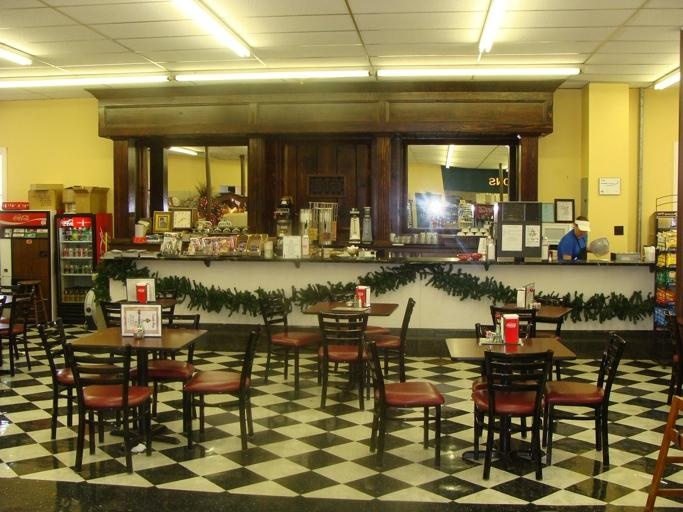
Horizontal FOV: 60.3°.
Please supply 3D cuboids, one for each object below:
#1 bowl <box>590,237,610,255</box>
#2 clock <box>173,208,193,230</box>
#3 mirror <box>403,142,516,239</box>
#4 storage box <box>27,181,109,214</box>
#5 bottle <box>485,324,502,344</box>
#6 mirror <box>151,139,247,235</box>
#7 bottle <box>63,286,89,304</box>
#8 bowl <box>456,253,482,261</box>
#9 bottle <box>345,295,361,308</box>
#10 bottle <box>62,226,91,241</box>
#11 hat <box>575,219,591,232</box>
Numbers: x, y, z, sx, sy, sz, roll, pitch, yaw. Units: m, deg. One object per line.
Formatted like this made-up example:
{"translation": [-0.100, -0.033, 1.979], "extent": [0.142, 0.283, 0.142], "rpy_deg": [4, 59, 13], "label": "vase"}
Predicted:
{"translation": [3.958, -0.152, 9.110], "extent": [0.413, 0.250, 0.300], "rpy_deg": [-5, -2, 15], "label": "bowl"}
{"translation": [-3.169, -0.734, 11.739], "extent": [0.477, 0.343, 0.048], "rpy_deg": [13, -10, 6], "label": "clock"}
{"translation": [2.230, -1.249, 11.091], "extent": [2.592, 1.878, 0.177], "rpy_deg": [-1, 0, 0], "label": "mirror"}
{"translation": [-5.416, -1.143, 11.667], "extent": [1.493, 0.583, 0.667], "rpy_deg": [-3, 9, -17], "label": "storage box"}
{"translation": [1.537, 0.792, 5.929], "extent": [0.206, 0.153, 0.154], "rpy_deg": [4, -5, -44], "label": "bottle"}
{"translation": [-3.002, -1.466, 12.359], "extent": [2.652, 1.801, 0.812], "rpy_deg": [1, 1, 11], "label": "mirror"}
{"translation": [-5.170, 0.752, 11.388], "extent": [0.439, 0.133, 0.360], "rpy_deg": [-1, 7, -1], "label": "bottle"}
{"translation": [1.965, 0.017, 8.907], "extent": [0.367, 0.095, 0.269], "rpy_deg": [1, 8, 11], "label": "bowl"}
{"translation": [0.156, 0.574, 7.459], "extent": [0.179, 0.135, 0.168], "rpy_deg": [0, 2, 0], "label": "bottle"}
{"translation": [-5.143, -0.421, 11.368], "extent": [0.538, 0.246, 0.155], "rpy_deg": [2, 10, 14], "label": "bottle"}
{"translation": [3.806, -0.484, 9.240], "extent": [0.212, 0.197, 0.144], "rpy_deg": [1, 9, 9], "label": "hat"}
